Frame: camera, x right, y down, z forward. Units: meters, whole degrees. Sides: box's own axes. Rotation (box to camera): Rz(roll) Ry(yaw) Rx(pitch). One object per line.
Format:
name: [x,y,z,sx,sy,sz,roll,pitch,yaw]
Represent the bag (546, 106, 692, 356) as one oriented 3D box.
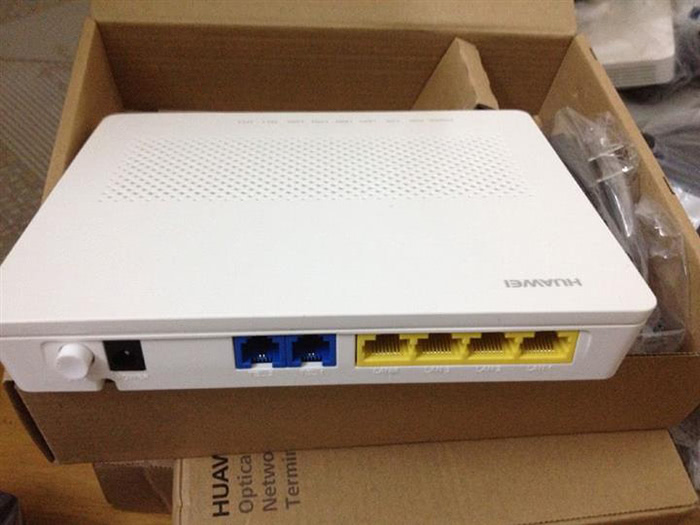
bag: [0.380,-0.049,1.088,0.125,0.123,0.361,-19,78,1]
